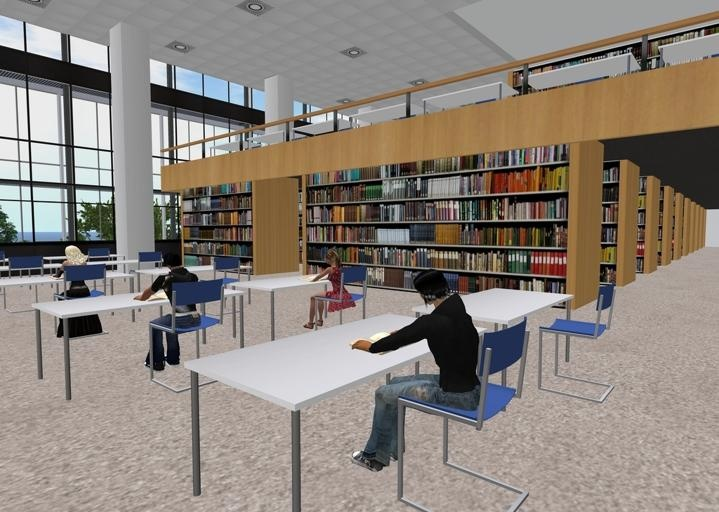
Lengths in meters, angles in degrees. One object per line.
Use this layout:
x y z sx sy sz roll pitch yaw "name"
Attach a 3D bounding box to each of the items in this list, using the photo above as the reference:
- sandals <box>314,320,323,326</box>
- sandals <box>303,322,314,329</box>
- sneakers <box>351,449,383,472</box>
-0.631 1.008 7.830 0.108 0.072 0.206 0 -3 -3 "sandals"
-0.767 1.027 7.717 0.195 0.075 0.066 6 7 45 "sandals"
0.057 1.801 4.632 0.300 0.125 0.128 6 9 31 "sneakers"
